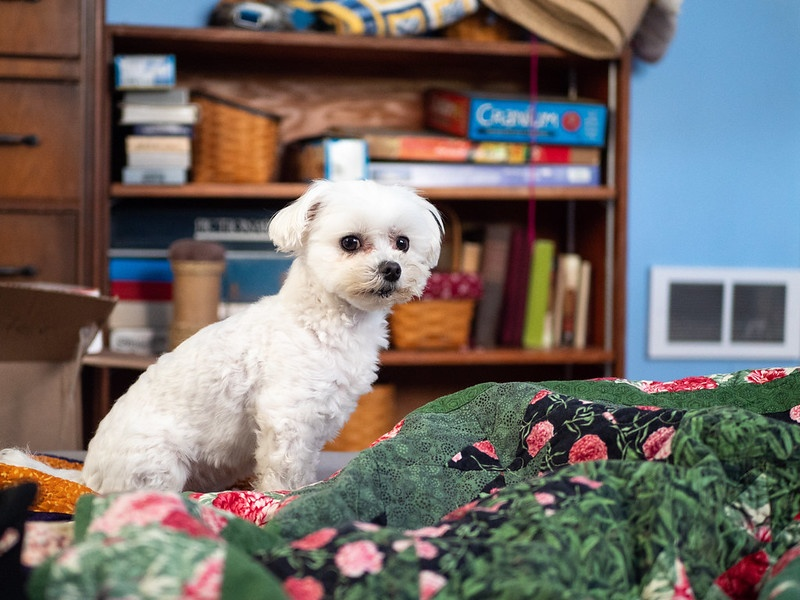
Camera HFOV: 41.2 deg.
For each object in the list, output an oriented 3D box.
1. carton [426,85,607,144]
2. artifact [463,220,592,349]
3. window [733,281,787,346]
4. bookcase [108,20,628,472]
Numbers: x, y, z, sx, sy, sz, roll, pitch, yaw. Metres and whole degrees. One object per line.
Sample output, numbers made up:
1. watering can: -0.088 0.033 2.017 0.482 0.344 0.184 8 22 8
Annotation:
1. carton: 0.299 -0.484 2.804 0.480 0.124 0.196 3 -1 8
2. artifact: 0.391 -0.052 2.982 0.339 0.468 0.356 2 0 14
3. window: 0.983 0.029 2.930 0.189 0.192 0.020 -1 1 -1
4. bookcase: -0.093 -0.141 2.569 1.227 1.141 0.381 -1 1 -12
